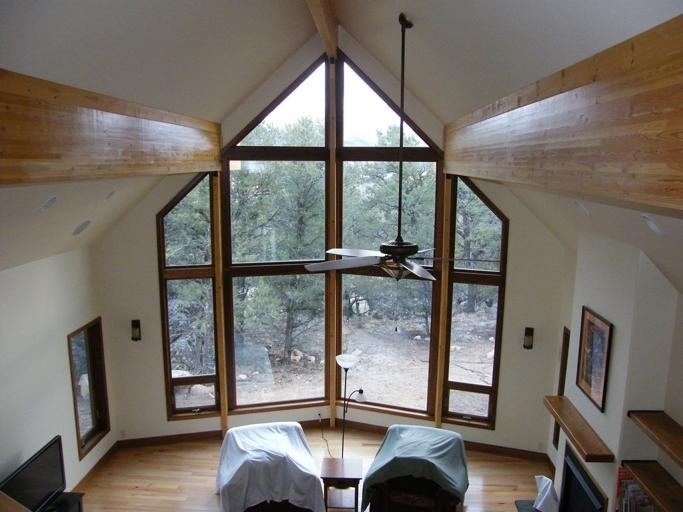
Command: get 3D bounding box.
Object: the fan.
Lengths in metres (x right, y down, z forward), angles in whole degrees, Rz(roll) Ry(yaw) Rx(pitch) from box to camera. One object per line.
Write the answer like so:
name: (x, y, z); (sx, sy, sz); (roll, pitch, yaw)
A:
fan: (0.656, -1.091, 5.554); (1.653, 2.440, 1.495); (-7, 14, -34)
